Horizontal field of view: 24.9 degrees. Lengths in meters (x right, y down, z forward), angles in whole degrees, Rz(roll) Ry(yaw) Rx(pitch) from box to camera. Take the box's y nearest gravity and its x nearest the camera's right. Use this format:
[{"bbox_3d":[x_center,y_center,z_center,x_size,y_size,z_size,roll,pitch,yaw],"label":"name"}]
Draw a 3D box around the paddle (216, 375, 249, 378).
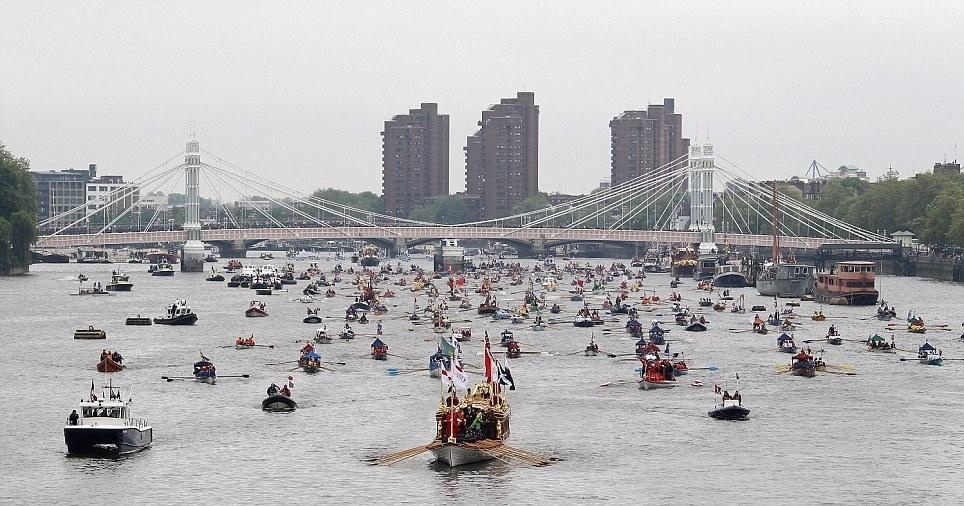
[{"bbox_3d":[-35.521,18.552,314.549,3.310,0.468,0.061,-1,-35,-3],"label":"paddle"}]
